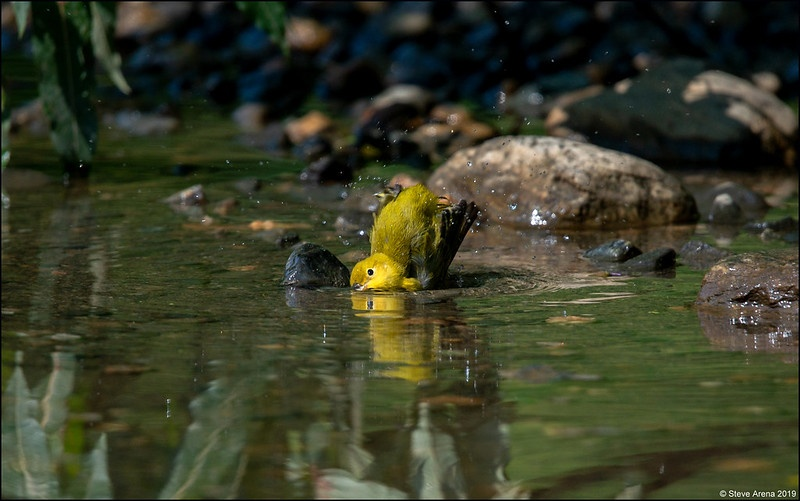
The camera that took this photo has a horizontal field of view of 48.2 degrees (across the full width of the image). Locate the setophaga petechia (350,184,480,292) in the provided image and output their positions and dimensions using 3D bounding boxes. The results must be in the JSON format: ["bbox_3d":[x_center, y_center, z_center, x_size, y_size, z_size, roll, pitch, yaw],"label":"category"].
[{"bbox_3d":[0.099,-0.072,5.685,0.827,0.667,0.354,-1,-11,-3],"label":"setophaga petechia"}]
